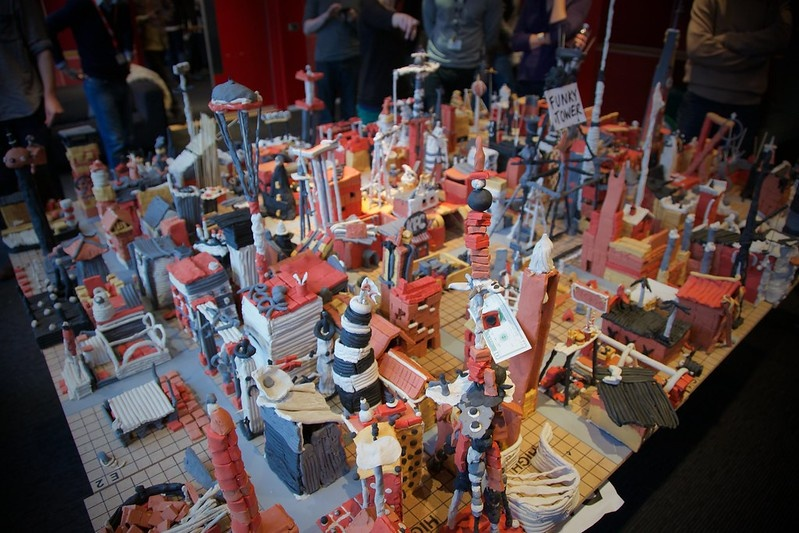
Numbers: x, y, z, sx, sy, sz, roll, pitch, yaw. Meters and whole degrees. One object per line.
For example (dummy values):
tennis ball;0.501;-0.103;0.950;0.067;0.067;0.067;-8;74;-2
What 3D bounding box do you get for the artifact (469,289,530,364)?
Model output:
artifact;0.996;0.623;5.554;0.519;0.825;0.338;-4;25;-5
